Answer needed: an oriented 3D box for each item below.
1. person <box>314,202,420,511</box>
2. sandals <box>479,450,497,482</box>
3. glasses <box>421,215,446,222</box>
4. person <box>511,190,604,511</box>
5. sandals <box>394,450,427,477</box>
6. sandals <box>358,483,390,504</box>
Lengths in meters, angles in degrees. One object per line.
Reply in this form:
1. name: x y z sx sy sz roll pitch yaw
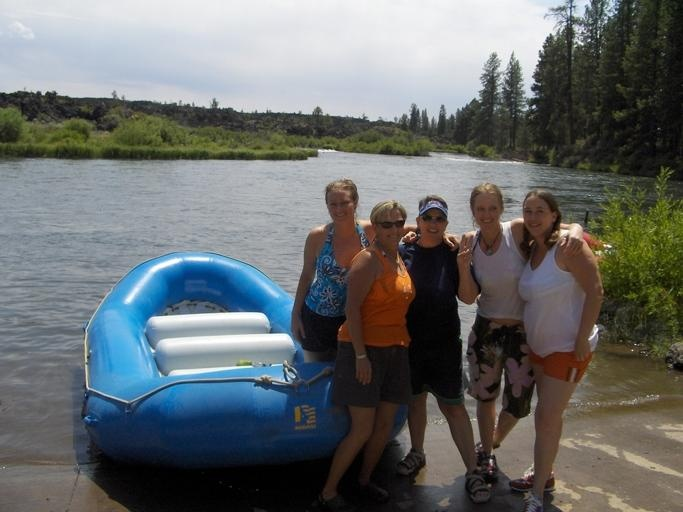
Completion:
1. person: 0.177 0.715 4.283 0.732 2.146 0.401 -9 15 -42
2. sandals: 1.106 1.607 4.649 0.090 0.116 0.265 -3 22 0
3. glasses: 0.662 -0.265 4.404 0.190 0.066 0.048 2 11 2
4. person: 1.423 0.641 4.268 0.600 2.139 0.575 -5 12 -29
5. sandals: 0.543 1.640 4.781 0.115 0.118 0.278 -2 -3 39
6. sandals: 0.224 1.733 4.403 0.186 0.086 0.112 4 24 22
